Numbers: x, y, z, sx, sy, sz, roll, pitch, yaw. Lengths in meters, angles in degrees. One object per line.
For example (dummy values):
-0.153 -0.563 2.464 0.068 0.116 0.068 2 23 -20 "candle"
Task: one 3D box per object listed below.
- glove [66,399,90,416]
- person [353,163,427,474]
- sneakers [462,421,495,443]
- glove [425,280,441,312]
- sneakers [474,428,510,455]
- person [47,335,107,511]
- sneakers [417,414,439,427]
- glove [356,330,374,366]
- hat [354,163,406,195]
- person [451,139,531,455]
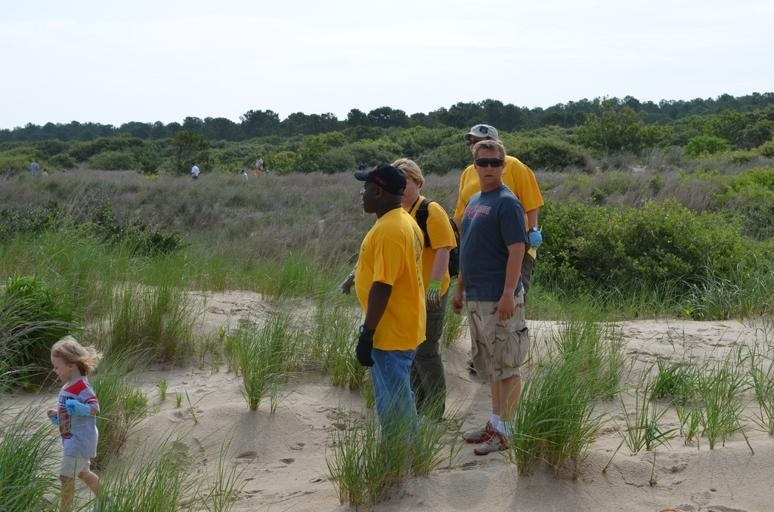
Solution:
-2.841 1.384 6.513 0.168 0.154 0.074 -4 9 9 "glove"
0.036 0.481 6.832 0.688 2.741 0.708 0 3 -4 "person"
0.979 1.830 7.401 0.377 0.194 0.156 0 0 26 "sneakers"
0.495 0.420 7.603 0.087 0.269 0.177 7 -1 10 "glove"
1.064 1.864 7.137 0.442 0.228 0.176 -2 0 7 "sneakers"
-2.855 1.483 6.529 0.453 1.433 0.493 -2 3 -36 "person"
0.392 1.588 6.866 0.134 0.069 0.141 -3 -8 36 "sneakers"
-0.208 0.844 6.745 0.150 0.381 0.159 0 3 -2 "glove"
-0.053 -0.740 6.946 0.409 0.254 0.285 12 11 9 "hat"
1.061 0.394 7.215 0.693 3.153 0.599 1 3 21 "person"
